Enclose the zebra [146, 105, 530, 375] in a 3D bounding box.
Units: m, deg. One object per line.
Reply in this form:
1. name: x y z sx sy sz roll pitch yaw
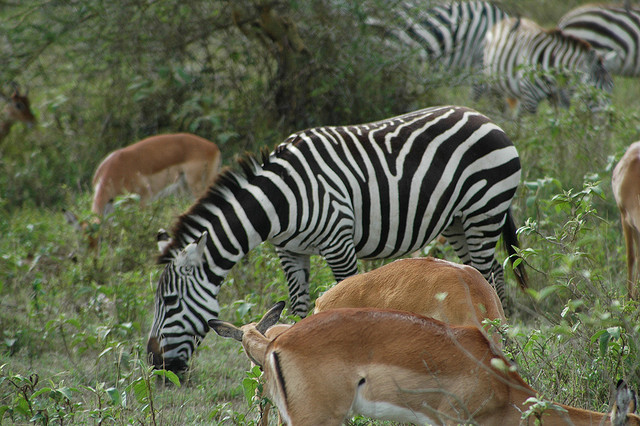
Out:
1. zebra: 0.427 0.108 8.675 4.366 2.855 1.449 -12 34 -17
